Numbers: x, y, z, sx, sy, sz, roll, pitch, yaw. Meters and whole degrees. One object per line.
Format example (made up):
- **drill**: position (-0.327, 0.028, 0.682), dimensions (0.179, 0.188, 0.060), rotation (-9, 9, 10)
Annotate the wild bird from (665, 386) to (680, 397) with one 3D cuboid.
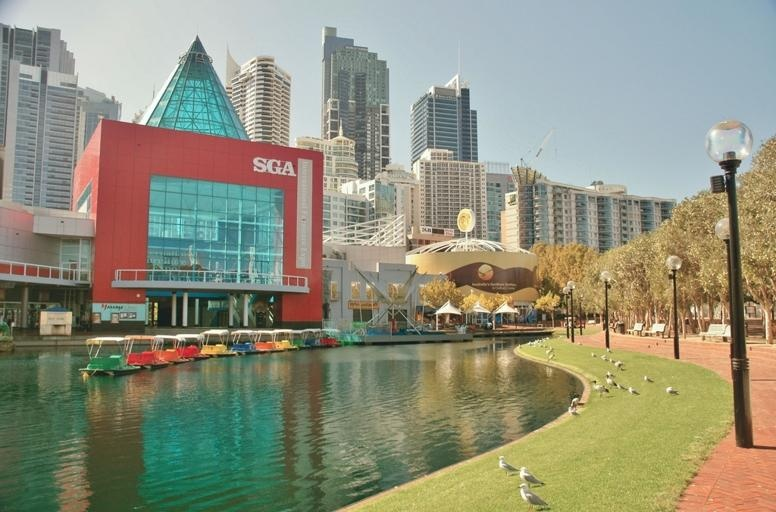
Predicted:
- **wild bird**: position (12.279, 5.823, 27.054), dimensions (0.734, 0.557, 0.429), rotation (7, -9, -30)
